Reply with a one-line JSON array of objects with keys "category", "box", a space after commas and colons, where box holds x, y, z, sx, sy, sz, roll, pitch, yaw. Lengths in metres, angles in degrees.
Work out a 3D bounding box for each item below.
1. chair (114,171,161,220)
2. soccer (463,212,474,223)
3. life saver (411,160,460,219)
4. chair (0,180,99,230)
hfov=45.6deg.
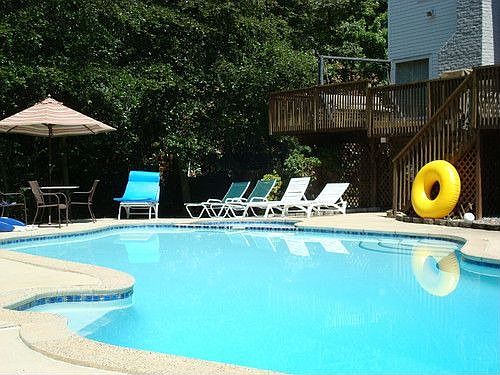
[{"category": "chair", "box": [-3.333, 0.498, 17.542, 1.420, 1.830, 1.424, 4, 4, -13]}, {"category": "soccer", "box": [5.190, 0.730, 14.200, 0.200, 0.183, 0.219, 4, 8, 0]}, {"category": "life saver", "box": [4.524, 0.040, 14.625, 0.420, 1.431, 1.221, -4, 5, -32]}, {"category": "chair", "box": [-5.357, 0.362, 15.653, 2.582, 1.402, 1.454, -2, 2, -9]}]
